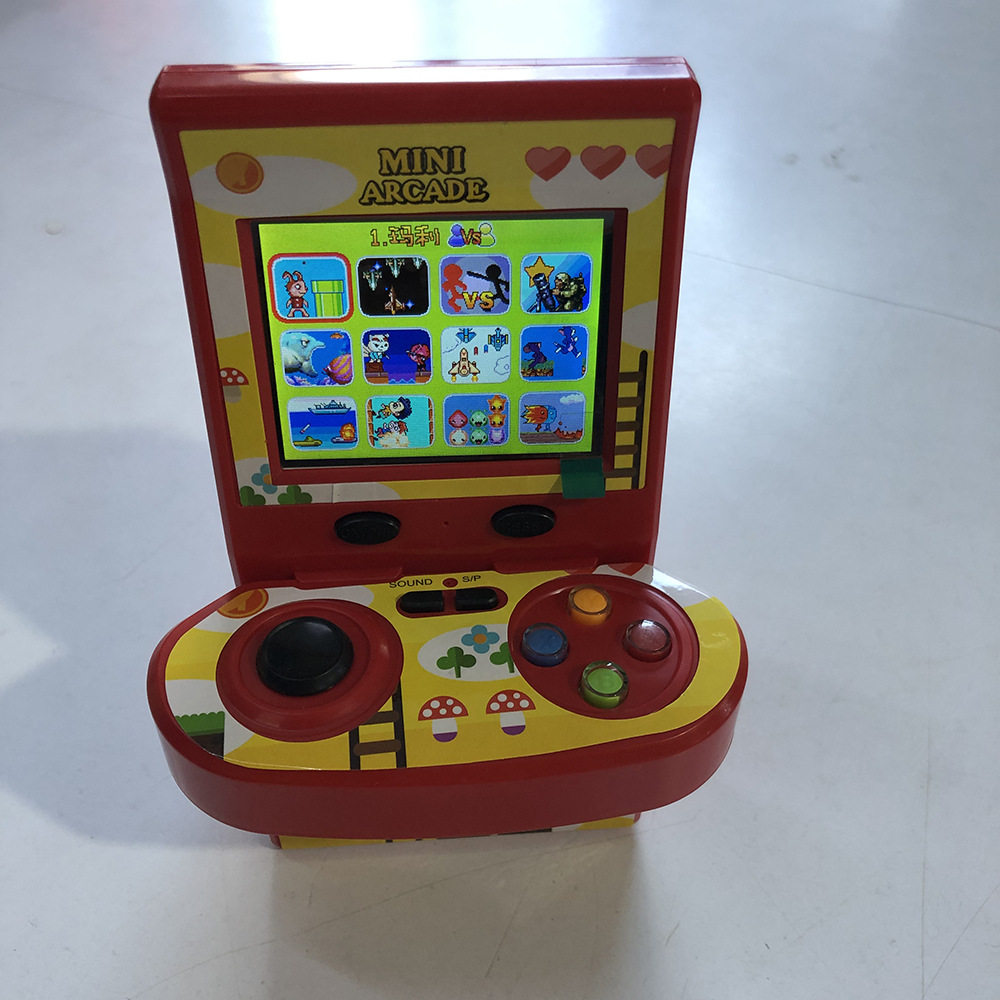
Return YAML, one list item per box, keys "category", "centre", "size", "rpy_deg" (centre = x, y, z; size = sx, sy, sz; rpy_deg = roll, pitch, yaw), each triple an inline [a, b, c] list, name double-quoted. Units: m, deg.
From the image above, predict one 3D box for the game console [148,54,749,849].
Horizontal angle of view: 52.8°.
- category: "game console"
  centre: [-0.060, -0.037, 0.938]
  size: [0.586, 0.695, 0.322]
  rpy_deg: [-4, 27, -2]
